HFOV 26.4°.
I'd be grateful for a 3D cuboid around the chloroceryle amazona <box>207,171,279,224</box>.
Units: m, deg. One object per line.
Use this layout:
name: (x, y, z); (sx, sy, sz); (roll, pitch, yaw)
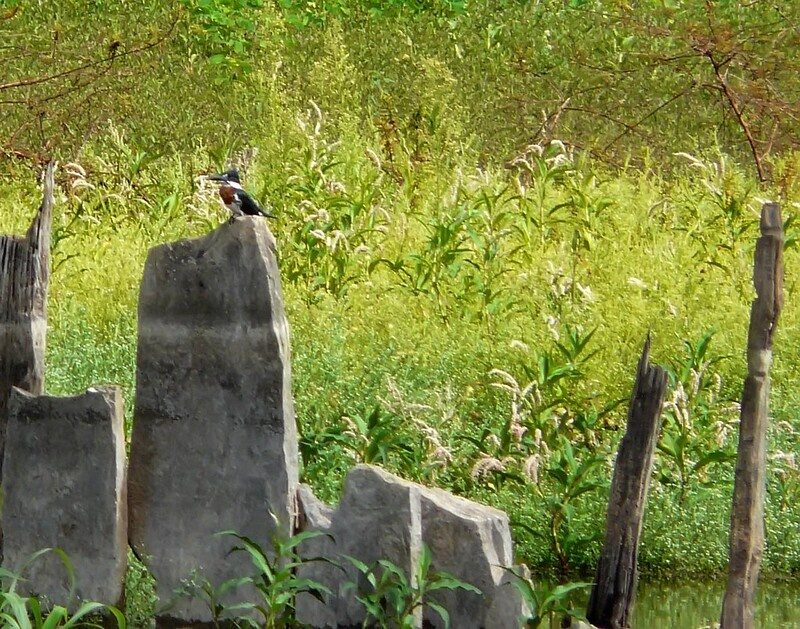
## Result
chloroceryle amazona: (-1.146, -0.870, 12.375); (0.522, 0.372, 0.186); (-7, 12, -35)
